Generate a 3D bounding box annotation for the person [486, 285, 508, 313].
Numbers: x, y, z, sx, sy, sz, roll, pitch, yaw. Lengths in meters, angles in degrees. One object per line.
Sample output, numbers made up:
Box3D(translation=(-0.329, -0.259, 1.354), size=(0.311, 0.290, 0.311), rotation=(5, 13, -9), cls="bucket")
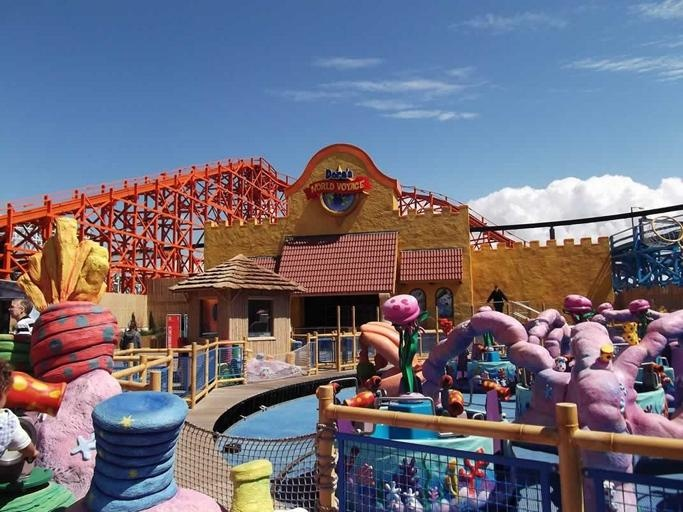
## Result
Box3D(translation=(6.791, 1.846, 24.596), size=(0.816, 1.115, 1.725), rotation=(-2, -3, 14), cls="person")
